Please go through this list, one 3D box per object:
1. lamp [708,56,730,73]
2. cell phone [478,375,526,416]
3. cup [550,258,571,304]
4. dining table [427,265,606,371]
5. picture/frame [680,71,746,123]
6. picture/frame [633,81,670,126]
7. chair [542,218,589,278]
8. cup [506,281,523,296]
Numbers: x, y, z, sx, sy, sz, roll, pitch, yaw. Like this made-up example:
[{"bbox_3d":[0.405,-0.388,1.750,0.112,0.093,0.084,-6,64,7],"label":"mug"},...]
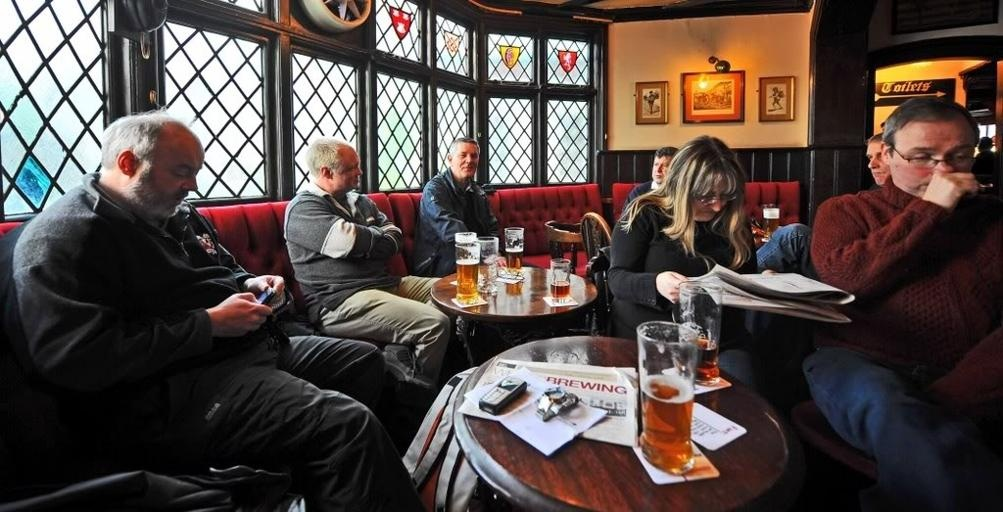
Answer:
[{"bbox_3d":[2.681,-2.355,7.008,0.270,0.196,0.128,3,11,17],"label":"lamp"},{"bbox_3d":[0.008,0.661,2.759,0.121,0.072,0.233,27,44,37],"label":"cell phone"},{"bbox_3d":[0.381,0.162,3.729,0.131,0.266,0.152,0,10,4],"label":"cup"},{"bbox_3d":[0.109,0.309,3.783,0.881,0.579,0.885,9,15,41],"label":"dining table"},{"bbox_3d":[2.665,-1.998,7.068,0.764,0.545,0.053,0,2,5],"label":"picture/frame"},{"bbox_3d":[1.907,-1.941,7.159,0.645,0.731,0.080,0,2,2],"label":"picture/frame"},{"bbox_3d":[0.654,-0.067,5.399,0.600,0.526,0.534,-2,1,-36],"label":"chair"},{"bbox_3d":[0.090,0.234,3.907,0.094,0.086,0.086,1,-7,0],"label":"cup"}]
